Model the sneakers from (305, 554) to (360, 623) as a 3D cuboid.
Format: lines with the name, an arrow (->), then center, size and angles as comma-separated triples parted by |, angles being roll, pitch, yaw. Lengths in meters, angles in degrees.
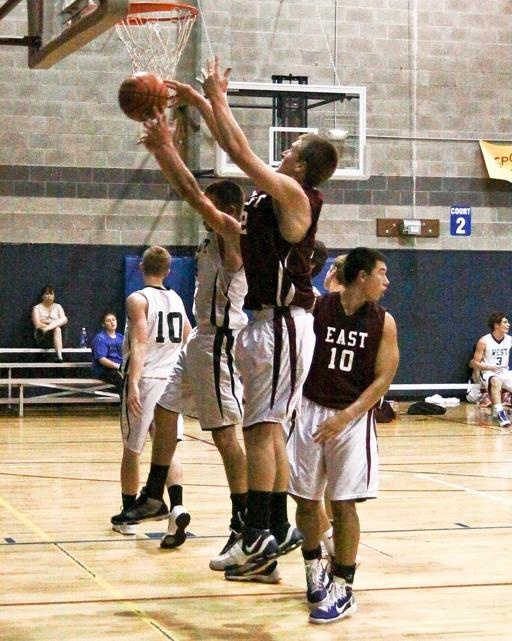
sneakers -> 0.329, 1.023, 3.869 | 0.103, 0.221, 0.309 | -6, -8, 27

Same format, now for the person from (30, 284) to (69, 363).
person -> -2.304, 0.035, 11.399 | 0.358, 0.813, 0.471 | 2, 0, -12

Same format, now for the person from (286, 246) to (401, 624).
person -> 0.319, 0.417, 3.969 | 0.373, 1.340, 0.383 | 2, 0, -15

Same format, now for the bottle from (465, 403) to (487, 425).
bottle -> 2.428, 1.055, 11.399 | 0.162, 0.166, 0.299 | 0, -2, 13

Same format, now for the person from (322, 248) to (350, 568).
person -> 0.330, 0.374, 4.589 | 0.147, 1.259, 0.184 | -1, 1, 7

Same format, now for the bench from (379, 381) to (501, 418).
bench -> 2.071, 0.904, 11.663 | 1.127, 0.514, 0.271 | -2, -23, 3

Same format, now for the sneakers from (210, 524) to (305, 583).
sneakers -> 0.002, 0.985, 4.275 | 0.158, 0.218, 0.463 | -6, -15, -40
